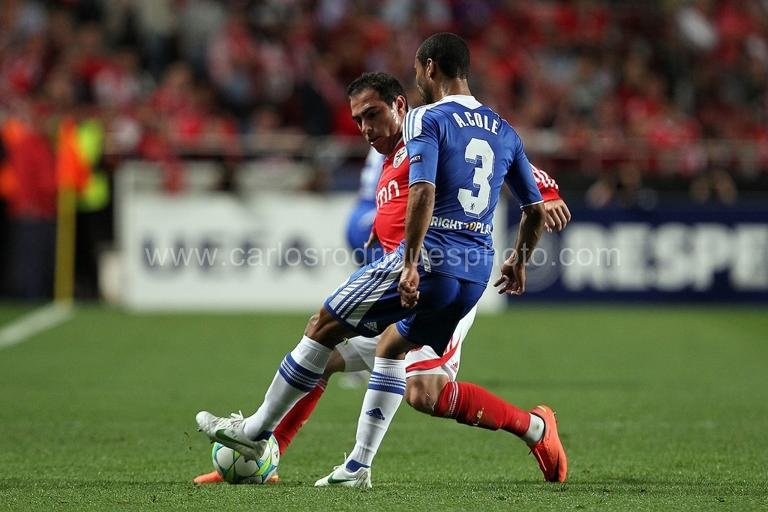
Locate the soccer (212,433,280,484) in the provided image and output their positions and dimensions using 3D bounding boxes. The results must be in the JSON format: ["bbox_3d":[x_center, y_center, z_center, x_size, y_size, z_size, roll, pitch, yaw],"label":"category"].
[{"bbox_3d":[-1.110,1.663,7.561,0.401,0.427,0.410,5,-42,-3],"label":"soccer"}]

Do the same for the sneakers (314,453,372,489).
[{"bbox_3d":[-0.282,1.727,7.617,0.520,0.241,0.188,1,-7,0],"label":"sneakers"}]

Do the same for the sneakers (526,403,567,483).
[{"bbox_3d":[1.322,1.547,7.896,0.256,0.672,0.216,-2,-21,-45],"label":"sneakers"}]
